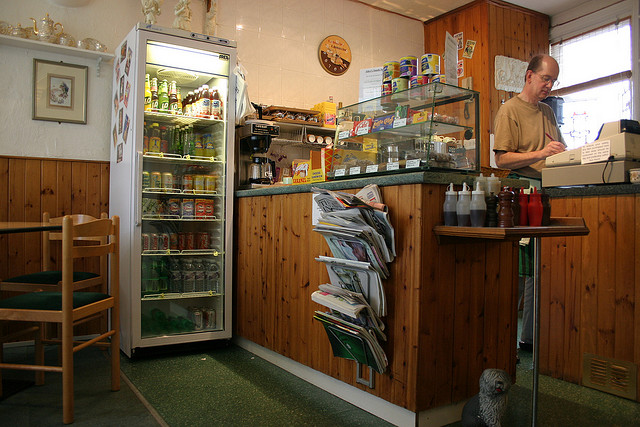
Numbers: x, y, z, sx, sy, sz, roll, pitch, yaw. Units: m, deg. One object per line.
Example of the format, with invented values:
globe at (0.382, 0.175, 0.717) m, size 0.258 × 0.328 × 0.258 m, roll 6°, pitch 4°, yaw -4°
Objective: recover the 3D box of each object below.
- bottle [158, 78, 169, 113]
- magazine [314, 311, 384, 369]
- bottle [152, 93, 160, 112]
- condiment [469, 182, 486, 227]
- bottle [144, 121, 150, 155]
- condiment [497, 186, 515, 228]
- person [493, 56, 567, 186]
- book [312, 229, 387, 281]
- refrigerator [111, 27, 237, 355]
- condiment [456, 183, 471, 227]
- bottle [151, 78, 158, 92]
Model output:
bottle at (-1.479, -1.122, 4.511) m, size 0.098 × 0.264 × 0.086 m, roll -3°, pitch 7°, yaw -22°
magazine at (0.200, 0.944, 3.357) m, size 0.052 × 0.397 × 0.638 m, roll -32°, pitch 24°, yaw -31°
bottle at (-1.539, -1.044, 4.477) m, size 0.059 × 0.177 × 0.090 m, roll -2°, pitch 7°, yaw -16°
condiment at (0.994, -0.033, 3.028) m, size 0.100 × 0.225 × 0.080 m, roll 2°, pitch 7°, yaw 20°
bottle at (-1.625, -0.718, 4.471) m, size 0.049 × 0.304 × 0.303 m, roll -2°, pitch 8°, yaw -20°
condiment at (1.181, -0.045, 3.035) m, size 0.104 × 0.246 × 0.239 m, roll 3°, pitch 8°, yaw 22°
person at (1.932, -0.853, 4.356) m, size 0.836 × 1.183 × 0.555 m, roll -5°, pitch 8°, yaw -33°
book at (0.211, 0.261, 3.308) m, size 0.402 × 0.475 × 0.055 m, roll 5°, pitch 50°, yaw 37°
refrigerator at (-1.359, -0.206, 4.604) m, size 1.205 × 2.968 × 0.794 m, roll -3°, pitch 7°, yaw -24°
condiment at (0.934, -0.057, 3.115) m, size 0.107 × 0.294 × 0.105 m, roll 4°, pitch -3°, yaw -30°
bottle at (-1.576, -1.225, 4.549) m, size 0.053 × 0.144 × 0.156 m, roll -2°, pitch 8°, yaw -14°
